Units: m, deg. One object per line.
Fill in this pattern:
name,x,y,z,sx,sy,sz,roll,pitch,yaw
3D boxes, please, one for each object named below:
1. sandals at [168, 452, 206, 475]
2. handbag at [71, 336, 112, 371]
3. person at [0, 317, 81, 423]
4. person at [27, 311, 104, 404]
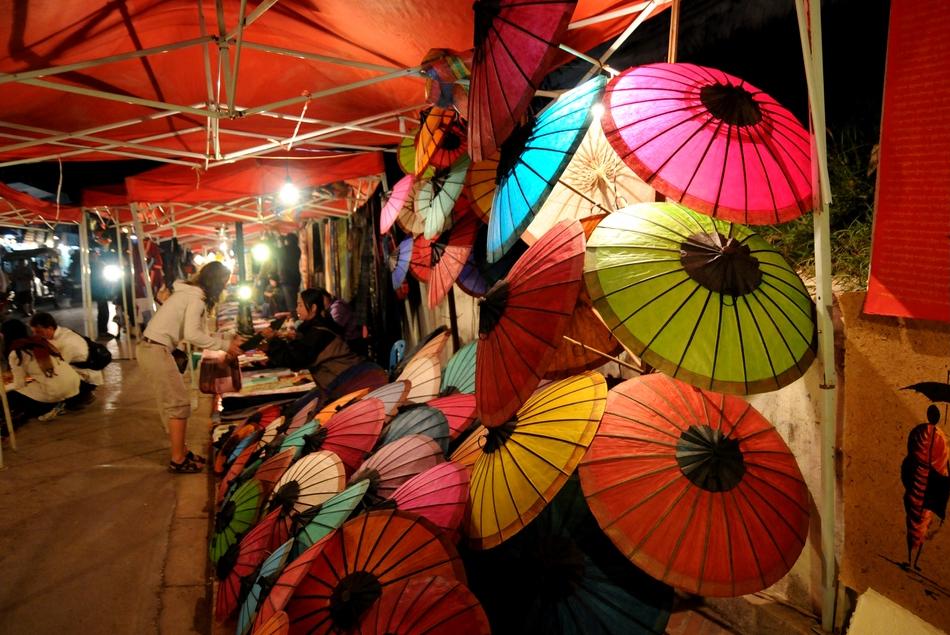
sandals,-2.718,1.366,6.530,0.326,0.131,0.171,-2,9,-14
handbag,-5.042,0.525,9.177,0.412,0.442,0.134,4,-23,27
person,-5.060,0.580,7.920,0.346,1.128,0.781,10,18,31
person,-5.276,0.574,8.875,0.992,1.311,0.533,-13,20,-35
